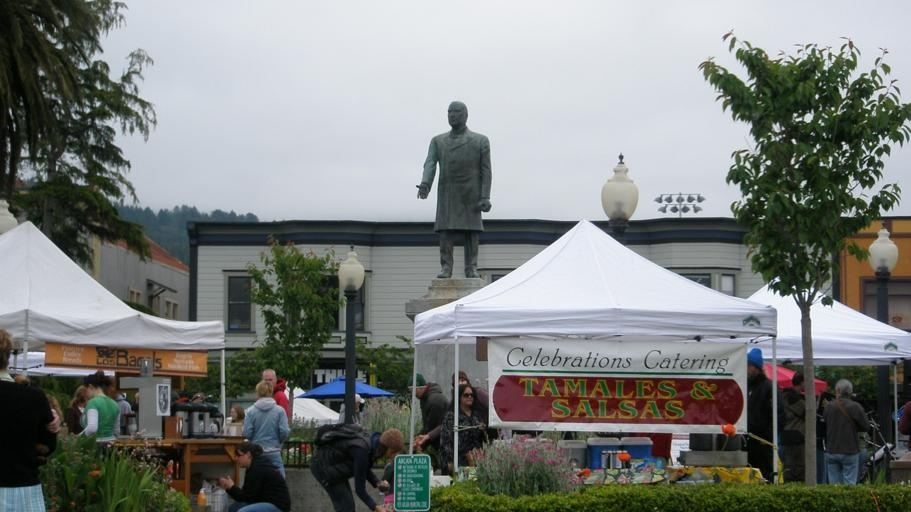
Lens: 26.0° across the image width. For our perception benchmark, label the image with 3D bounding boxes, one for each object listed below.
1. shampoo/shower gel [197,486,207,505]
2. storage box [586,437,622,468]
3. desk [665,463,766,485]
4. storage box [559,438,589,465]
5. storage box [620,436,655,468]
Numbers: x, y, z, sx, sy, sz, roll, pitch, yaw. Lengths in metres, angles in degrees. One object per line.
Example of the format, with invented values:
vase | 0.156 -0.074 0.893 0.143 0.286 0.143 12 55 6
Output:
shampoo/shower gel | -6.268 5.909 48.319 0.325 0.532 0.318 0 -8 -9
storage box | 3.474 4.866 47.435 1.127 1.009 0.598 1 -5 1
desk | 6.087 5.124 46.718 2.245 0.406 0.369 1 -11 -6
storage box | 2.869 4.682 47.386 0.658 1.078 0.591 1 -7 -14
storage box | 4.427 4.644 47.639 0.618 0.524 0.607 4 -9 -31
